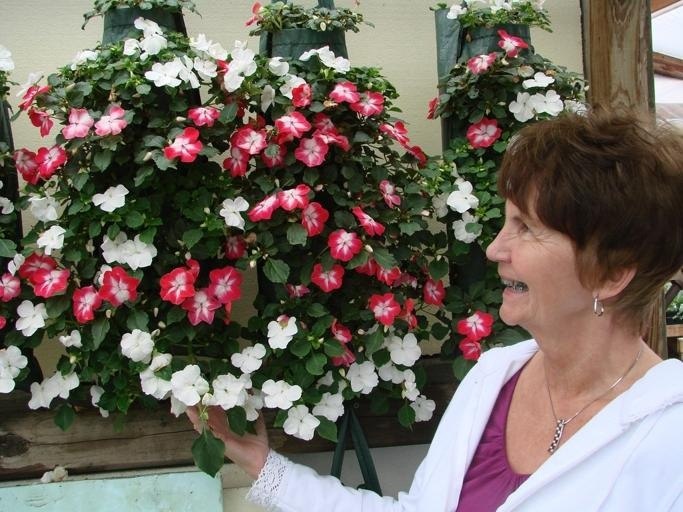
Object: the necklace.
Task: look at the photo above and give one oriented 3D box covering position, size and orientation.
[{"bbox_3d":[0.594,0.337,1.396,0.017,0.278,0.170,30,1,-39],"label":"necklace"}]
